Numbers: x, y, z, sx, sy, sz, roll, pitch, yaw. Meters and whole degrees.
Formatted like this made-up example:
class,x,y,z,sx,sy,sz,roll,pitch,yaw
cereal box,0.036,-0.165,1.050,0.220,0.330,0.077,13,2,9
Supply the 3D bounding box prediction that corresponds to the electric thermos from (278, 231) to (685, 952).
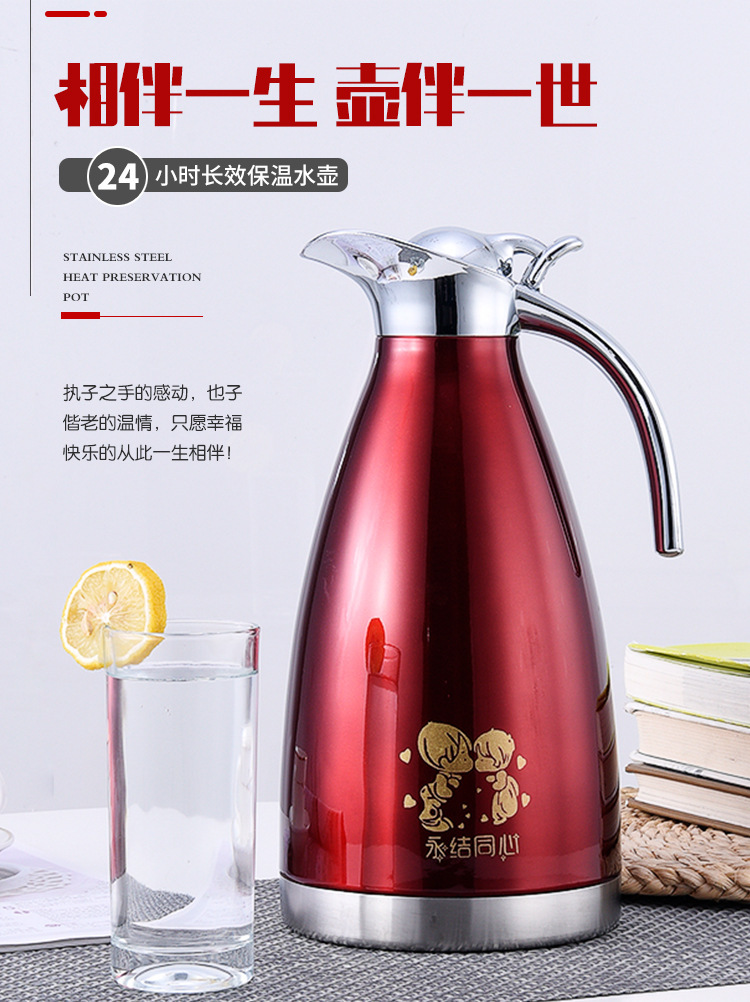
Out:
class,x,y,z,sx,sy,sz,roll,pitch,yaw
electric thermos,0.029,0.035,0.416,0.136,0.293,0.060,-1,-1,10
